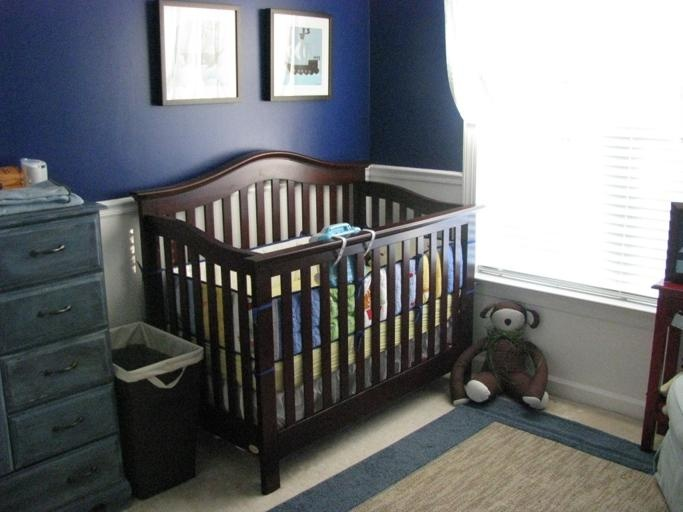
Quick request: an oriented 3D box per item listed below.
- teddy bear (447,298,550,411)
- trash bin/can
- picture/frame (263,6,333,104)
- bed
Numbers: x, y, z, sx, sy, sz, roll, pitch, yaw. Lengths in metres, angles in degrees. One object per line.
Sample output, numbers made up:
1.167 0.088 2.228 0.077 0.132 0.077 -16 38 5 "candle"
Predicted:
0.846 0.521 2.991 0.472 0.575 0.348 1 6 17 "teddy bear"
-0.773 0.670 2.334 0.382 0.594 0.550 -8 16 -32 "trash bin/can"
-0.260 -1.133 3.098 0.052 0.549 0.529 10 15 41 "picture/frame"
-0.105 0.198 2.989 0.914 1.315 1.633 10 16 41 "bed"
